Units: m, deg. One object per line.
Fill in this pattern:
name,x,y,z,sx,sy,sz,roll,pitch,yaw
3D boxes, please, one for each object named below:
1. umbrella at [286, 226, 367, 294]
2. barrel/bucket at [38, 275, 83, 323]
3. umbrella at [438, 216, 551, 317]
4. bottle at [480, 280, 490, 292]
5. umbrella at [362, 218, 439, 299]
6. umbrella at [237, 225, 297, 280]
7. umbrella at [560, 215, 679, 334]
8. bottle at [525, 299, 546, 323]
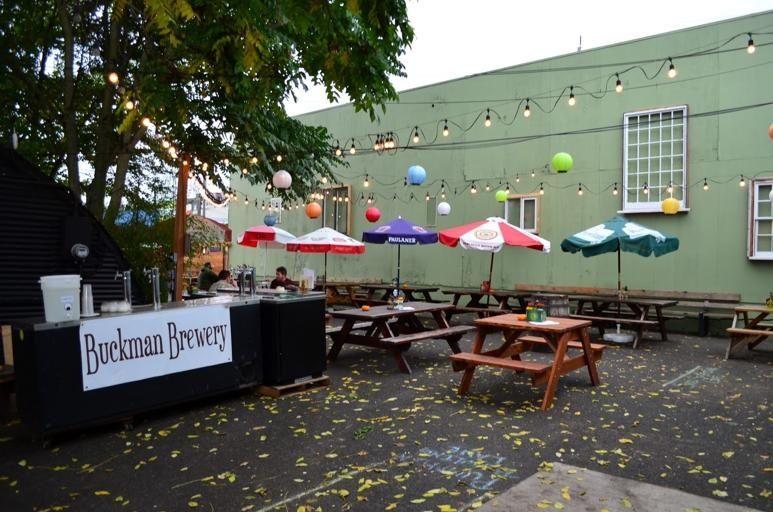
umbrella,-1.690,-0.058,15.542,1.944,1.475,1.860,4,6,10
barrel/bucket,-4.192,0.565,7.102,0.581,0.651,0.512,0,-4,-42
umbrella,2.698,-0.099,13.827,2.244,1.613,2.151,-6,14,-44
bottle,2.600,0.808,14.641,0.309,0.347,0.196,4,-5,4
umbrella,0.319,-0.034,14.740,1.943,2.013,1.773,3,10,10
umbrella,-3.818,-0.093,18.238,1.939,0.755,1.989,-1,-8,6
umbrella,5.381,0.217,12.948,2.258,2.247,2.245,-8,6,-42
bottle,2.473,0.903,8.988,0.412,0.466,0.256,-2,-1,22
